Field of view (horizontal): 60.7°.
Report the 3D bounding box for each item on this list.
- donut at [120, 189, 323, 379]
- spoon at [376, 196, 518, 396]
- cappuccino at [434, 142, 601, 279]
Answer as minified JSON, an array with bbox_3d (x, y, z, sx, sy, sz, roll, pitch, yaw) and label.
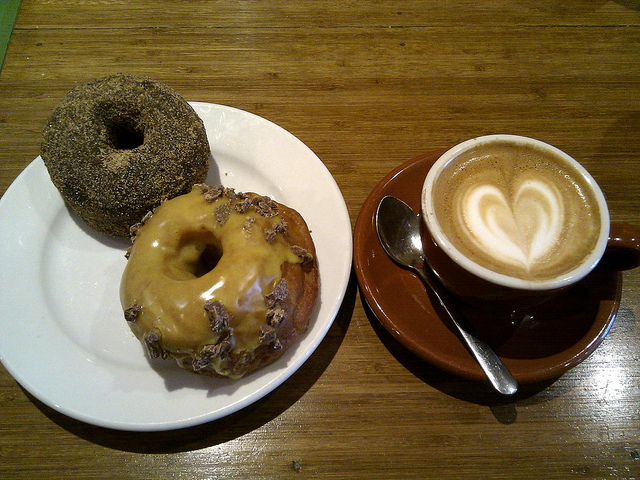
[{"bbox_3d":[-0.249,0.109,1.406,0.502,0.165,0.489,13,77,4],"label":"donut"},{"bbox_3d":[0.312,0.140,1.423,0.126,0.073,0.591,-27,70,-14],"label":"spoon"},{"bbox_3d":[0.492,-0.062,1.375,0.360,0.160,0.230,6,72,-3],"label":"cappuccino"}]
